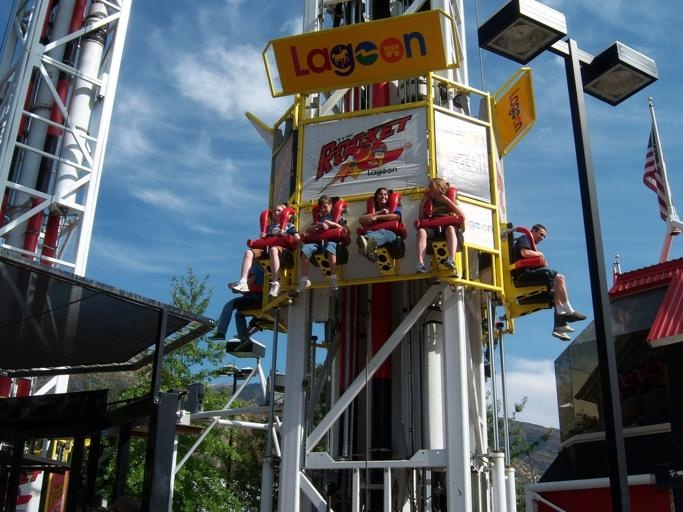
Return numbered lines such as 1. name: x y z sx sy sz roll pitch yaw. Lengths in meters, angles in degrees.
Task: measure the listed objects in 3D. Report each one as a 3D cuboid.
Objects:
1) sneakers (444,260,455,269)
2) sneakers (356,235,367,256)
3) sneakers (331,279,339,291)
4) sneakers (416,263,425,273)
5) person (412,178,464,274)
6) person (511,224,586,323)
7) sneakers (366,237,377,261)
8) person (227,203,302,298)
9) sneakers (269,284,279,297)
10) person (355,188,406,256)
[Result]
1. sneakers: 2.280 0.150 13.320 0.116 0.130 0.297 -11 -31 32
2. sneakers: 0.444 -0.241 13.462 0.190 0.469 0.148 -6 4 -44
3. sneakers: -0.160 0.592 13.906 0.107 0.339 0.137 2 0 4
4. sneakers: 1.707 0.248 13.571 0.157 0.112 0.184 18 -30 27
5. person: 2.150 -0.677 13.753 1.062 2.092 0.543 -1 -23 10
6. person: 5.036 0.375 15.394 1.519 2.631 1.190 -8 -22 28
7. sneakers: 0.655 -0.153 13.450 0.195 0.275 0.555 3 -23 2
8. person: -1.671 -0.134 14.690 1.345 2.436 0.804 3 -23 0
9. sneakers: -1.486 0.751 13.993 0.232 0.317 0.176 6 -30 -4
10. person: 0.898 -0.822 13.946 1.049 1.908 0.987 1 -23 5
